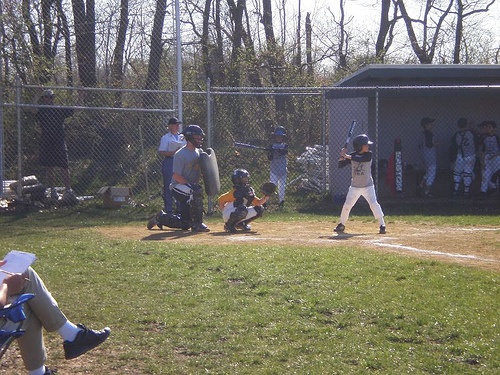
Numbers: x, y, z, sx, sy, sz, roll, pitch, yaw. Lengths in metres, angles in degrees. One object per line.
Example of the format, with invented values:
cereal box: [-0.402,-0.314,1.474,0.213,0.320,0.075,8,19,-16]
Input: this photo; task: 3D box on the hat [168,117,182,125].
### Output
hat: [-1.473,-1.302,12.191,0.199,0.109,0.145,-3,9,-5]

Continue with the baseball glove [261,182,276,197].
baseball glove: [0.346,0.021,11.423,0.242,0.210,0.205,-20,5,12]

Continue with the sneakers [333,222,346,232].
sneakers: [1.594,0.725,11.265,0.106,0.124,0.188,-3,-5,40]

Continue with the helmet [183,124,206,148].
helmet: [-1.003,-0.892,11.066,0.323,0.411,0.372,0,5,-14]

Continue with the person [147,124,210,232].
person: [-1.150,-0.164,11.082,0.863,1.864,0.390,0,5,-6]

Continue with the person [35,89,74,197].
person: [-4.394,-1.074,14.024,0.709,2.196,1.200,2,5,10]

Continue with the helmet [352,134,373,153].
helmet: [2.009,-0.798,11.263,0.353,0.322,0.266,-7,5,4]

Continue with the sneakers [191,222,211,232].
sneakers: [-0.886,0.706,11.172,0.334,0.142,0.128,-4,-3,27]

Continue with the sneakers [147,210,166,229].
sneakers: [-1.665,0.567,11.109,0.182,0.224,0.518,10,18,6]

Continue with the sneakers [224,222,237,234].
sneakers: [-0.353,0.707,11.164,0.173,0.089,0.282,5,-1,-23]

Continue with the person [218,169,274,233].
person: [-0.167,0.234,11.376,1.120,1.364,0.902,0,6,18]

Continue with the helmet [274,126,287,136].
helmet: [0.679,-1.309,14.246,0.265,0.183,0.345,2,-2,2]

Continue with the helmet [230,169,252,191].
helmet: [-0.176,-0.174,11.418,0.312,0.314,0.278,-1,7,5]
